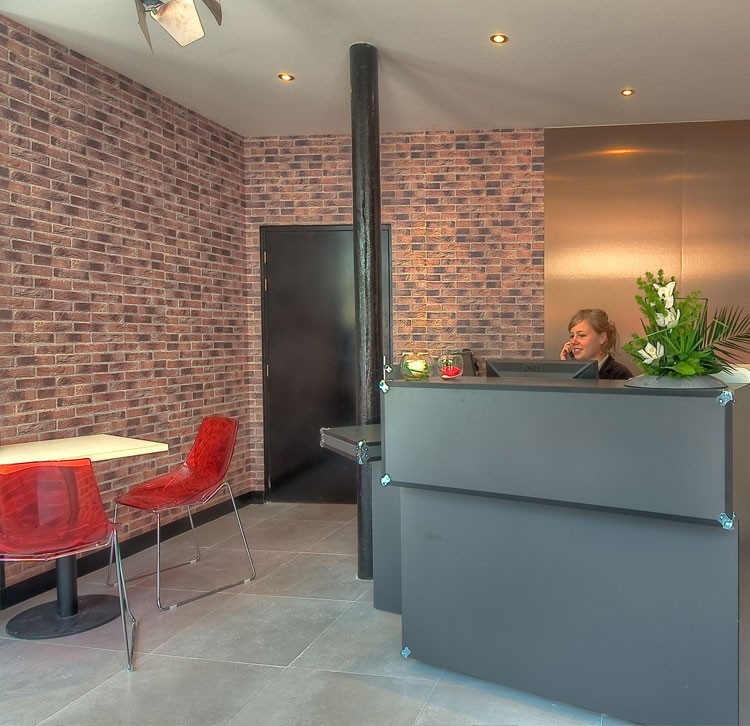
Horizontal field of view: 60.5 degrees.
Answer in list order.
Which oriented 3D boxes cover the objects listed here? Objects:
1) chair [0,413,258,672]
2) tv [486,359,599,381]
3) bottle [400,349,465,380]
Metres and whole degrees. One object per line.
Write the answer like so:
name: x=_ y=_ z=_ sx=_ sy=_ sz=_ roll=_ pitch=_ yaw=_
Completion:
chair: x=-1.308 y=0.773 z=3.407 sx=0.928 sy=0.978 sz=1.307 roll=0 pitch=-1 yaw=32
tv: x=0.692 y=0.027 z=2.729 sx=0.143 sy=0.076 sz=0.542 roll=-2 pitch=1 yaw=-43
bottle: x=0.241 y=0.005 z=2.722 sx=0.211 sy=0.066 sz=0.139 roll=1 pitch=3 yaw=13
